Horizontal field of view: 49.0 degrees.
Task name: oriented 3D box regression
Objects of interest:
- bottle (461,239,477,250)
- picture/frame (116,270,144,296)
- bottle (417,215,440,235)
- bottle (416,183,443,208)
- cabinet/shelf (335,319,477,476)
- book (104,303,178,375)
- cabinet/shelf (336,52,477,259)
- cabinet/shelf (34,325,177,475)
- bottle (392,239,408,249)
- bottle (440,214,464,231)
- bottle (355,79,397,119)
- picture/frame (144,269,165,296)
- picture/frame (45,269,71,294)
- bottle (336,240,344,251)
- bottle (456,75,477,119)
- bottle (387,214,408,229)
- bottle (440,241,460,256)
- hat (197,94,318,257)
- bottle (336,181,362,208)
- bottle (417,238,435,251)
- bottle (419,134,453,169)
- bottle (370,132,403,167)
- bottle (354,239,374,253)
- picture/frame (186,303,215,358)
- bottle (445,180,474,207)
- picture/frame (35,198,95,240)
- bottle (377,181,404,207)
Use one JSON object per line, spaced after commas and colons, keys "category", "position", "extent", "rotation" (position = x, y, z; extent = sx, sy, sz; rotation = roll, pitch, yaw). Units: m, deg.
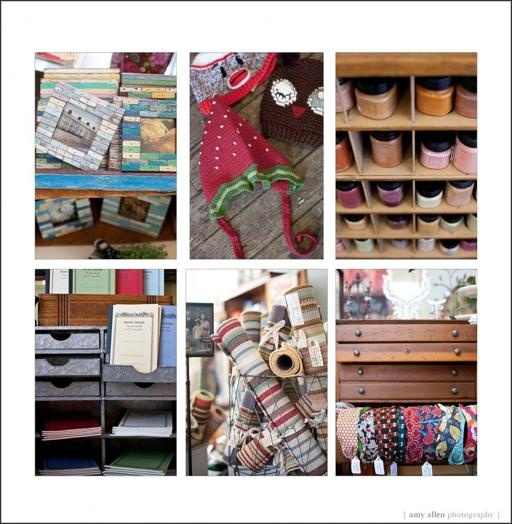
{"category": "bottle", "position": [0.555, -0.044, 1.464], "extent": [0.027, 0.029, 0.030], "rotation": [1, -8, 3]}
{"category": "picture/frame", "position": [-0.339, 0.053, 1.498], "extent": [0.064, 0.072, 0.018], "rotation": [3, 3, -2]}
{"category": "bottle", "position": [0.450, -0.098, 1.466], "extent": [0.046, 0.051, 0.049], "rotation": [0, 9, 3]}
{"category": "bottle", "position": [0.449, -0.173, 1.452], "extent": [0.056, 0.048, 0.062], "rotation": [-4, 30, 2]}
{"category": "cabinet/shelf", "position": [0.414, 0.363, 1.503], "extent": [0.352, 0.401, 0.204], "rotation": [-1, -5, 2]}
{"category": "book", "position": [-0.304, 0.202, 1.486], "extent": [0.181, 0.143, 0.041], "rotation": [-4, 2, 8]}
{"category": "cabinet/shelf", "position": [0.399, -0.298, 1.447], "extent": [0.442, 0.555, 0.172], "rotation": [-1, 4, -5]}
{"category": "cabinet/shelf", "position": [-0.408, 0.364, 1.494], "extent": [0.342, 0.381, 0.136], "rotation": [0, -1, -3]}
{"category": "bottle", "position": [0.380, -0.047, 1.486], "extent": [0.026, 0.023, 0.028], "rotation": [-1, -1, -1]}
{"category": "bottle", "position": [0.506, -0.105, 1.463], "extent": [0.041, 0.035, 0.046], "rotation": [-3, 43, 6]}
{"category": "bottle", "position": [0.308, -0.431, 1.480], "extent": [0.095, 0.097, 0.099], "rotation": [15, 37, 40]}
{"category": "picture/frame", "position": [-0.272, 0.056, 1.500], "extent": [0.059, 0.095, 0.061], "rotation": [-1, -2, 4]}
{"category": "picture/frame", "position": [-0.527, 0.053, 1.496], "extent": [0.074, 0.081, 0.056], "rotation": [3, -8, -18]}
{"category": "bottle", "position": [0.221, -0.042, 1.493], "extent": [0.023, 0.026, 0.024], "rotation": [-6, 7, -29]}
{"category": "bottle", "position": [0.550, -0.418, 1.450], "extent": [0.064, 0.074, 0.072], "rotation": [8, 29, 13]}
{"category": "bottle", "position": [0.373, -0.108, 1.478], "extent": [0.034, 0.025, 0.037], "rotation": [-1, 9, 0]}
{"category": "bottle", "position": [0.506, -0.039, 1.468], "extent": [0.037, 0.035, 0.042], "rotation": [-3, 37, 5]}
{"category": "hat", "position": [0.003, -0.232, 1.500], "extent": [0.305, 0.458, 0.135], "rotation": [-4, 2, -7]}
{"category": "bottle", "position": [0.245, -0.176, 1.478], "extent": [0.058, 0.062, 0.064], "rotation": [-11, 40, 13]}
{"category": "bottle", "position": [0.447, -0.044, 1.478], "extent": [0.034, 0.041, 0.034], "rotation": [0, -1, -3]}
{"category": "bottle", "position": [0.472, -0.299, 1.465], "extent": [0.077, 0.083, 0.088], "rotation": [-6, 52, 7]}
{"category": "bottle", "position": [0.348, -0.314, 1.478], "extent": [0.081, 0.100, 0.089], "rotation": [-10, 39, 4]}
{"category": "bottle", "position": [0.287, -0.043, 1.491], "extent": [0.036, 0.030, 0.038], "rotation": [-11, 19, 4]}
{"category": "picture/frame", "position": [-0.153, 0.182, 1.484], "extent": [0.095, 0.144, 0.009], "rotation": [1, -6, -37]}
{"category": "bottle", "position": [0.523, -0.179, 1.451], "extent": [0.060, 0.074, 0.065], "rotation": [-1, 17, 4]}
{"category": "picture/frame", "position": [-0.520, -0.118, 1.511], "extent": [0.083, 0.079, 0.007], "rotation": [-15, 5, -3]}
{"category": "bottle", "position": [0.350, -0.179, 1.466], "extent": [0.058, 0.062, 0.064], "rotation": [-11, 31, 5]}
